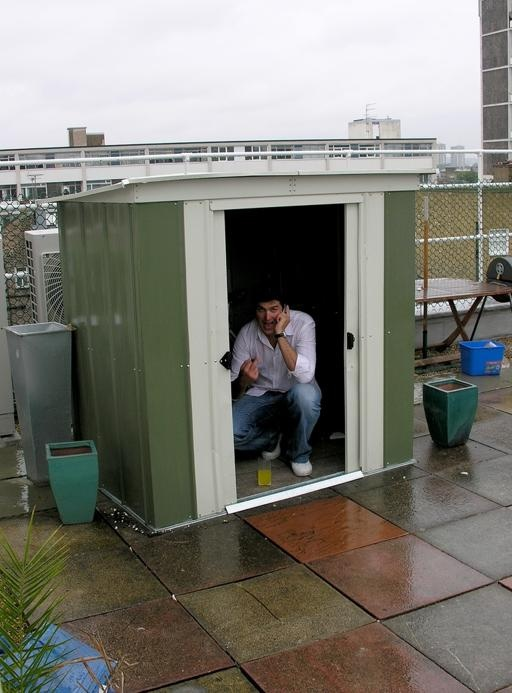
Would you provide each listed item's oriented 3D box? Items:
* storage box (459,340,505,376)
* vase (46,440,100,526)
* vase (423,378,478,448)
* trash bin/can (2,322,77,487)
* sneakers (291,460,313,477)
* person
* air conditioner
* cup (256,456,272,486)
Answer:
[{"bbox_3d":[2.600,0.142,7.031,0.337,0.336,0.488,1,9,2],"label":"storage box"},{"bbox_3d":[-1.128,0.867,3.804,0.285,0.500,0.380,-5,8,-19],"label":"vase"},{"bbox_3d":[1.555,0.563,4.916,0.374,0.525,0.295,-5,8,-20],"label":"vase"},{"bbox_3d":[-1.566,0.427,4.535,0.438,1.162,0.461,-5,8,-23],"label":"trash bin/can"},{"bbox_3d":[0.353,0.896,4.513,0.171,0.092,0.150,-4,8,-10],"label":"sneakers"},{"bbox_3d":[0.141,0.268,4.744,0.652,1.285,0.756,-2,7,0],"label":"person"},{"bbox_3d":[-1.971,-0.659,5.701,0.276,0.877,0.632,-5,8,-20],"label":"air conditioner"},{"bbox_3d":[0.048,0.899,4.420,0.135,0.255,0.129,1,1,0],"label":"cup"}]
